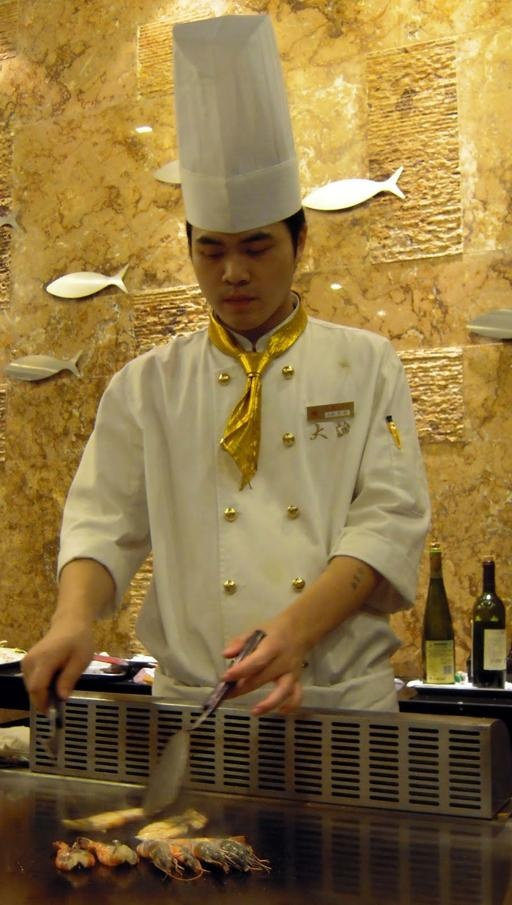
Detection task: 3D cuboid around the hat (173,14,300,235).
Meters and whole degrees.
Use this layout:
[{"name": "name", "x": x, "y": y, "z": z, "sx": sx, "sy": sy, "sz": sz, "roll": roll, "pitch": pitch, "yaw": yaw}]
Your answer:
[{"name": "hat", "x": -0.036, "y": -0.509, "z": 1.244, "sx": 0.201, "sy": 0.286, "sz": 0.187, "roll": -14, "pitch": 29, "yaw": -9}]

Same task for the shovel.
[{"name": "shovel", "x": -0.053, "y": 0.277, "z": 0.809, "sx": 0.135, "sy": 0.112, "sz": 0.182, "roll": -3, "pitch": 1, "yaw": -1}]

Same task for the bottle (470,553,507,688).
[{"name": "bottle", "x": 0.568, "y": 0.414, "z": 2.031, "sx": 0.089, "sy": 0.285, "sz": 0.247, "roll": -3, "pitch": 2, "yaw": 15}]
